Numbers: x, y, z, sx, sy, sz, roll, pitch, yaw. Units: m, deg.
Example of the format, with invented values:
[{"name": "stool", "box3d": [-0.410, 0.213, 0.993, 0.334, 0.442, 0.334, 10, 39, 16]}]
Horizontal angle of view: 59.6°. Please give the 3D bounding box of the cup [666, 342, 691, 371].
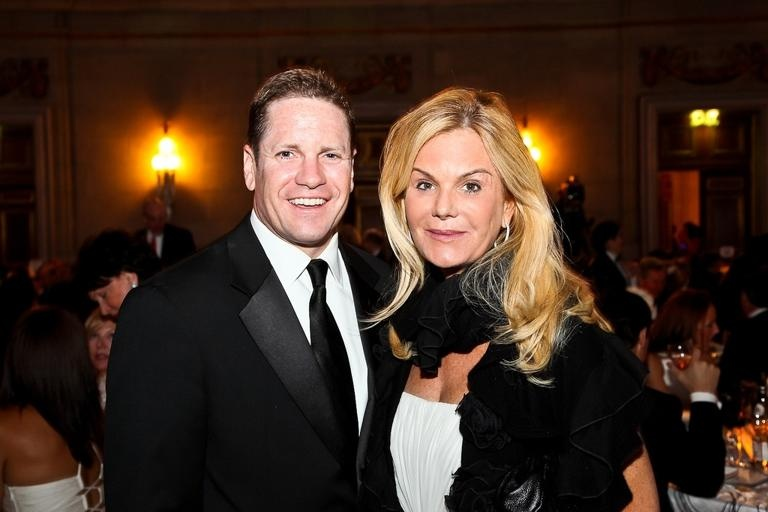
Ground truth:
[{"name": "cup", "box3d": [2.473, 0.841, 5.569, 0.196, 0.212, 0.195, -4, -8, -1]}]
